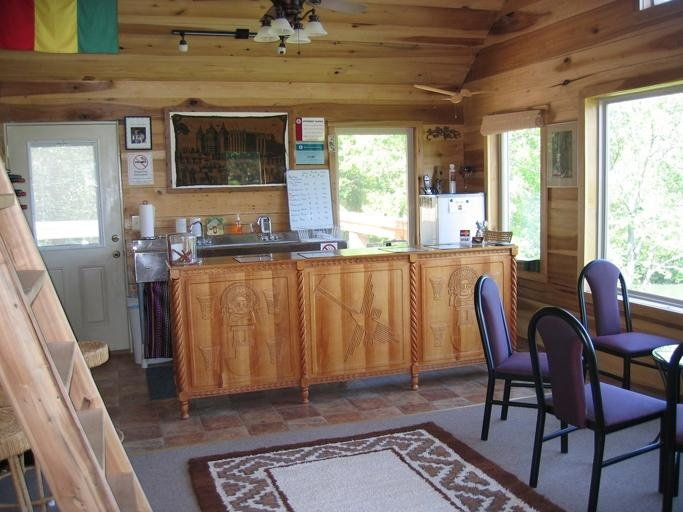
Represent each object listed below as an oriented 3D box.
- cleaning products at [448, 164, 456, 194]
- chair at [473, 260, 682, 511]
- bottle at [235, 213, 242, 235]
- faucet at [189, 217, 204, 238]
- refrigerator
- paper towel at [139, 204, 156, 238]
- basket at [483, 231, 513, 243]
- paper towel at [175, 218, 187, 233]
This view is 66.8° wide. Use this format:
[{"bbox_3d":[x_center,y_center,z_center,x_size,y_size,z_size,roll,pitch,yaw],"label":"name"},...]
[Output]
[{"bbox_3d":[1.483,-1.055,6.959,0.114,0.378,0.254,0,8,12],"label":"cleaning products"},{"bbox_3d":[1.646,0.902,3.582,0.605,0.999,1.351,-8,9,-19],"label":"chair"},{"bbox_3d":[-1.263,-0.410,6.351,0.076,0.235,0.071,-2,8,0],"label":"bottle"},{"bbox_3d":[-1.732,-0.345,6.168,0.140,0.238,0.211,0,8,13],"label":"faucet"},{"bbox_3d":[1.455,-0.390,6.767,0.689,0.849,0.517,-1,11,-2],"label":"refrigerator"},{"bbox_3d":[-2.214,-0.409,5.906,0.157,0.377,0.196,-5,9,-21],"label":"paper towel"},{"bbox_3d":[1.520,-0.193,5.063,0.201,0.075,0.151,2,6,12],"label":"basket"},{"bbox_3d":[-1.883,-0.376,6.105,0.136,0.164,0.162,-4,8,-16],"label":"paper towel"}]
